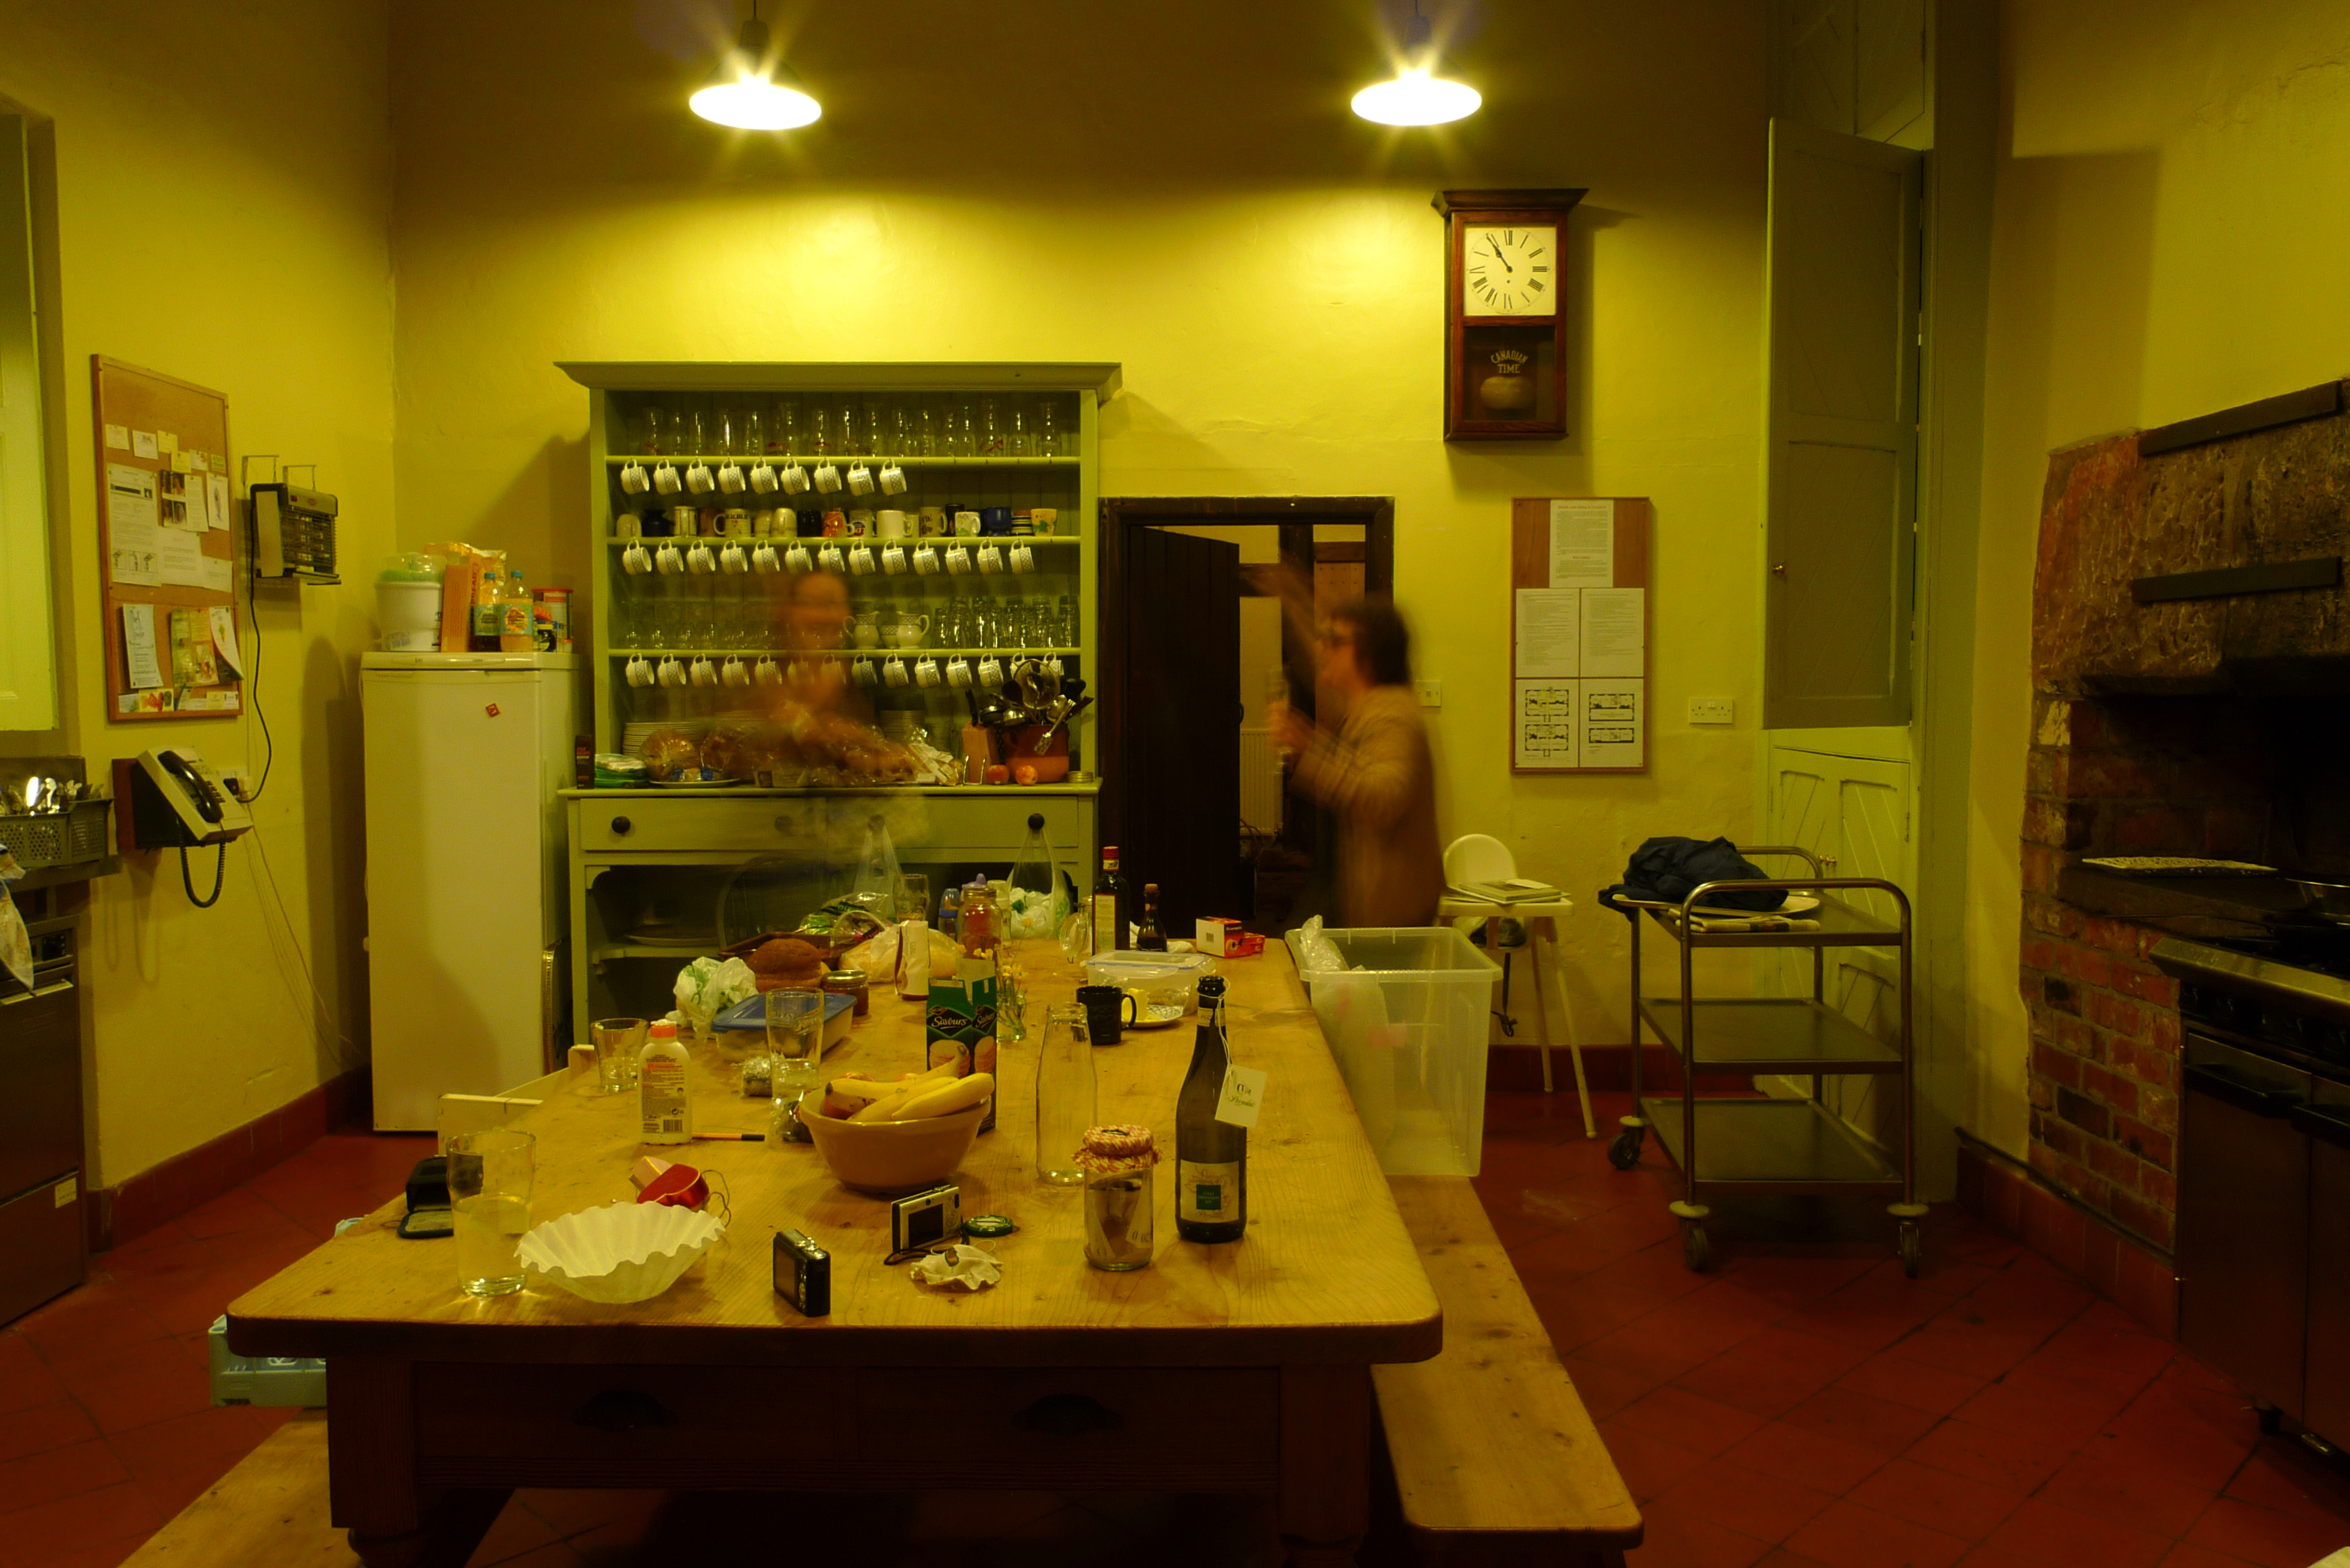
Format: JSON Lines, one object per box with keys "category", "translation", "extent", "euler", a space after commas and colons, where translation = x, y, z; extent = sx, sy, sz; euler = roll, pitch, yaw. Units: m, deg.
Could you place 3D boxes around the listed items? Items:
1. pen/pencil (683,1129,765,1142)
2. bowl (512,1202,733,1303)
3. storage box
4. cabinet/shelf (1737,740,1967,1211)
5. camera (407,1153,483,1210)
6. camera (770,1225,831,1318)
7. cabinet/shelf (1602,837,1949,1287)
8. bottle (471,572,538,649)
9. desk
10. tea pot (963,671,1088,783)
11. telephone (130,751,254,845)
{"category": "pen/pencil", "translation": [-1.012, 0.783, 3.992], "extent": [0.140, 0.020, 0.026], "euler": [0, -6, 4]}
{"category": "bowl", "translation": [-1.080, 0.914, 3.442], "extent": [0.338, 0.109, 0.343], "euler": [-2, 4, 0]}
{"category": "storage box", "translation": [0.577, 0.751, 4.923], "extent": [0.548, 0.495, 0.757], "euler": [0, 0, 1]}
{"category": "cabinet/shelf", "translation": [2.372, 0.689, 6.218], "extent": [0.549, 1.613, 1.622], "euler": [0, 2, 6]}
{"category": "camera", "translation": [-1.495, 0.803, 3.685], "extent": [0.119, 0.055, 0.110], "euler": [1, 0, -18]}
{"category": "camera", "translation": [-0.725, 0.941, 3.439], "extent": [0.045, 0.083, 0.139], "euler": [-5, 8, -30]}
{"category": "cabinet/shelf", "translation": [2.084, 0.901, 6.445], "extent": [1.202, 1.646, 1.852], "euler": [1, 3, 5]}
{"category": "bottle", "translation": [-2.600, -0.677, 7.043], "extent": [0.264, 0.296, 0.297], "euler": [-1, 5, 17]}
{"category": "desk", "translation": [1.409, 0.835, 7.202], "extent": [0.879, 1.312, 0.902], "euler": [-2, -1, 1]}
{"category": "tea pot", "translation": [-0.618, -0.226, 7.221], "extent": [0.465, 0.423, 0.467], "euler": [-2, 2, 0]}
{"category": "telephone", "translation": [-3.322, 0.036, 6.083], "extent": [0.270, 0.340, 0.453], "euler": [-3, 4, -7]}
